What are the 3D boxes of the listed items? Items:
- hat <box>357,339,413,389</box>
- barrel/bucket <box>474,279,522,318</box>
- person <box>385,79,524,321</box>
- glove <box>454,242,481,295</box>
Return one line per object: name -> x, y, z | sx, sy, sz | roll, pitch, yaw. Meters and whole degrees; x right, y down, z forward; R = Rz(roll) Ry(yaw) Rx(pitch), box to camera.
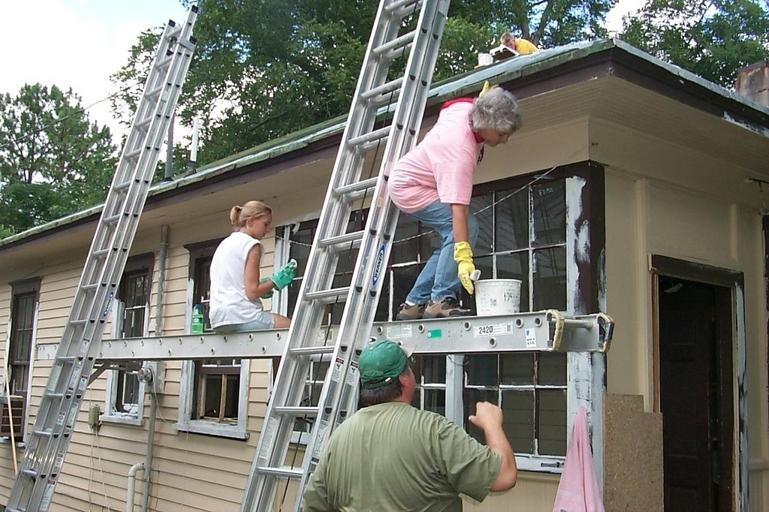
hat -> 0.011, 0.728, 4.956 | 0.247, 0.356, 0.190 | 5, -55, 36
barrel/bucket -> 0.867, 0.327, 5.562 | 0.279, 0.217, 0.285 | -2, -13, 0
person -> 0.603, -0.389, 5.973 | 1.073, 1.804, 0.890 | -3, -19, 15
glove -> 0.630, 0.082, 5.711 | 0.192, 0.492, 0.345 | 0, -18, 6
